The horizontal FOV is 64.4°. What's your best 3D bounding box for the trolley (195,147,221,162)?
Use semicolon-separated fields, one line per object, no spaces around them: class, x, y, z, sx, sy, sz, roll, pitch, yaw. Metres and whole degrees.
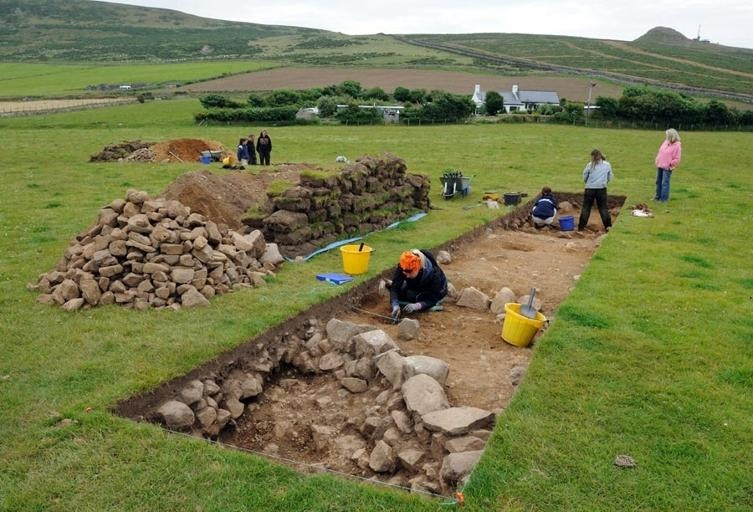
trolley;-7.538;-4.746;27.319;0.943;0.542;1.261;-1;5;-6

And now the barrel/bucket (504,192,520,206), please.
barrel/bucket;4.397;-1.860;19.390;0.531;0.351;0.408;-2;11;10

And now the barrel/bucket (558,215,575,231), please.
barrel/bucket;5.703;-0.991;18.032;0.513;0.355;0.476;-5;15;1

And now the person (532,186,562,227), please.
person;5.408;-1.655;19.068;0.758;1.117;1.809;7;21;17

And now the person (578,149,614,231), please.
person;6.485;-1.899;17.515;0.971;2.312;1.135;7;23;17

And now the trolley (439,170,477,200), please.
trolley;2.769;-2.488;20.824;0.727;0.665;1.437;1;9;22

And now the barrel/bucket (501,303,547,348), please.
barrel/bucket;2.640;1.324;10.860;0.814;0.586;0.785;24;9;-4

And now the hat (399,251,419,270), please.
hat;0.626;0.085;11.426;0.351;0.269;0.349;1;14;-3

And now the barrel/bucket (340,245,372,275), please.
barrel/bucket;-0.459;0.023;13.144;0.599;0.680;0.549;0;21;0

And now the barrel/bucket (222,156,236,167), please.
barrel/bucket;-6.149;-3.907;24.757;0.376;0.478;0.512;3;13;22
